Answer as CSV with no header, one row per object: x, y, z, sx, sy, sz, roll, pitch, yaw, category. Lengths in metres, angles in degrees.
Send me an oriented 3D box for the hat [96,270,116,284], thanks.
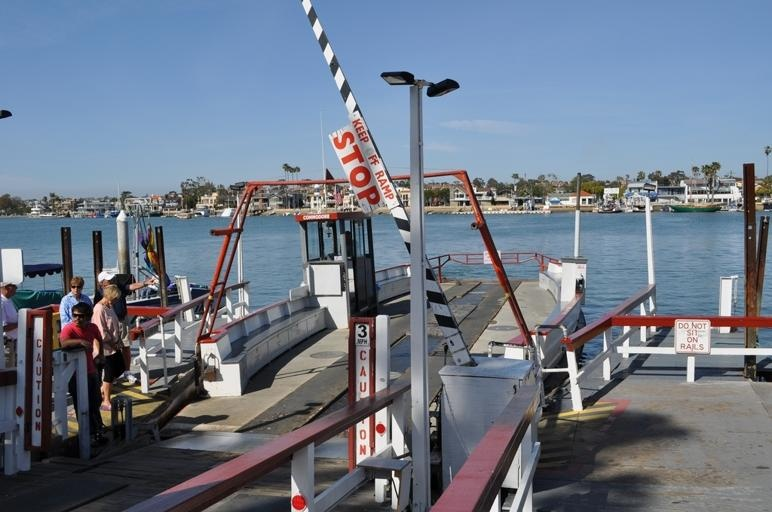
-5.970,0.446,18.699,0.463,0.156,0.301,-13,8,45,hat

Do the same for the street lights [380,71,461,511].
0.391,0.488,11.419,0.361,5.579,0.634,-1,4,28,street lights
